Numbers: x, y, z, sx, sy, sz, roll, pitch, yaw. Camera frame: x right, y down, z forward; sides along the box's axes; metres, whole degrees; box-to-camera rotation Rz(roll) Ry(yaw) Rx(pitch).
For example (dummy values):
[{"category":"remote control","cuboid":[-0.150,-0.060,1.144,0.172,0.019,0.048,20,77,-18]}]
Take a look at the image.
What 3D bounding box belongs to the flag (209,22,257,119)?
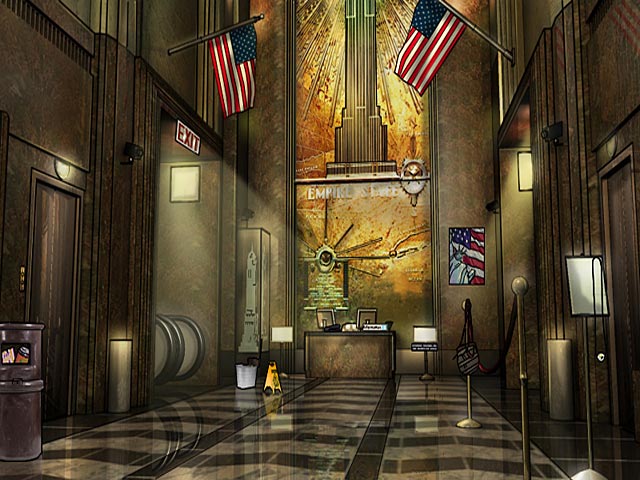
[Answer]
[{"category":"flag","cuboid":[-1.429,-2.895,9.936,0.846,1.686,0.079,-14,-18,8]}]
